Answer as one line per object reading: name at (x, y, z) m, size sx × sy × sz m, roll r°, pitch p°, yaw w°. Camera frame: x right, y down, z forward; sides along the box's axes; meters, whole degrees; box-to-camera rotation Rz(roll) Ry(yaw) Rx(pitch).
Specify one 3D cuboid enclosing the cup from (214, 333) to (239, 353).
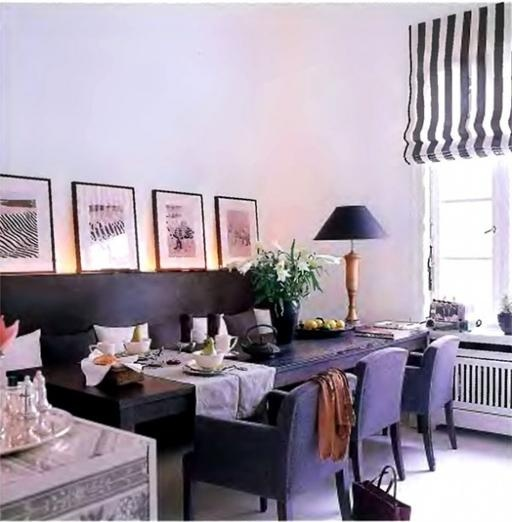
cup at (-0.173, 0.481, 2.769) m, size 0.142 × 0.131 × 0.098 m, roll 3°, pitch -3°, yaw -6°

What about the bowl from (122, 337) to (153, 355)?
bowl at (-0.671, 0.480, 2.661) m, size 0.127 × 0.084 × 0.147 m, roll 0°, pitch -8°, yaw -5°

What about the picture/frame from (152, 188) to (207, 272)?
picture/frame at (-0.682, -0.254, 4.107) m, size 0.079 × 0.903 × 0.598 m, roll -9°, pitch -10°, yaw 39°

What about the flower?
flower at (0.142, 0.095, 3.433) m, size 0.686 × 0.595 × 0.764 m, roll 1°, pitch -9°, yaw -18°

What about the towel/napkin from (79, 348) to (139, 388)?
towel/napkin at (-0.664, 0.483, 2.169) m, size 0.190 × 0.106 × 0.199 m, roll 13°, pitch 0°, yaw 33°

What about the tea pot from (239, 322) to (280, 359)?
tea pot at (0.002, 0.479, 2.862) m, size 0.282 × 0.243 × 0.191 m, roll -7°, pitch -8°, yaw 40°

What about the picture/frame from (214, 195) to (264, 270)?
picture/frame at (-0.185, -0.271, 4.477) m, size 0.075 × 0.914 × 0.631 m, roll -3°, pitch -1°, yaw 37°

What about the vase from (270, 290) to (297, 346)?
vase at (0.198, 0.415, 3.220) m, size 0.220 × 0.407 × 0.259 m, roll 0°, pitch -1°, yaw -10°

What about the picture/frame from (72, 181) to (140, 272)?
picture/frame at (-1.155, -0.249, 3.576) m, size 0.077 × 0.942 × 0.598 m, roll -8°, pitch -7°, yaw 41°

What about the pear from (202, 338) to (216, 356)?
pear at (-0.227, 0.426, 2.345) m, size 0.068 × 0.093 × 0.077 m, roll 2°, pitch -8°, yaw -2°

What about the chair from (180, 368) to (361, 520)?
chair at (0.127, 0.640, 2.247) m, size 0.606 × 0.935 × 0.586 m, roll 0°, pitch -2°, yaw 35°
